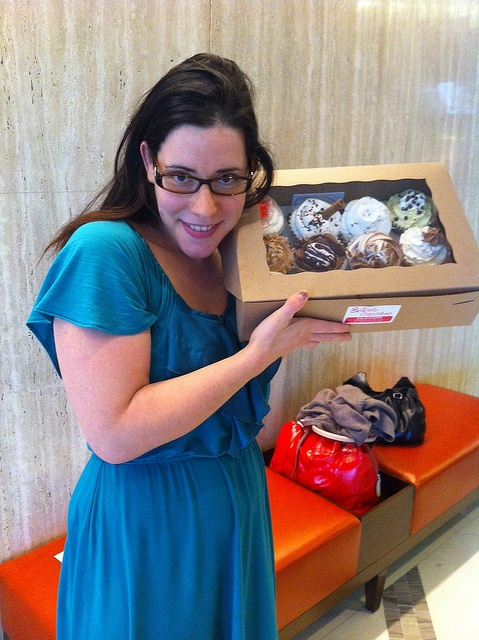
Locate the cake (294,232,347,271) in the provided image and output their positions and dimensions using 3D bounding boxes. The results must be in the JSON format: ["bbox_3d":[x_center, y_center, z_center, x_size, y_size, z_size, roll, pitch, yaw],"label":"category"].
[{"bbox_3d":[0.138,-0.118,0.928,0.086,0.070,0.027,-2,-20,-2],"label":"cake"}]

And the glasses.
[{"bbox_3d":[-0.053,-0.215,0.825,0.156,0.046,0.070,-1,10,-8],"label":"glasses"}]
